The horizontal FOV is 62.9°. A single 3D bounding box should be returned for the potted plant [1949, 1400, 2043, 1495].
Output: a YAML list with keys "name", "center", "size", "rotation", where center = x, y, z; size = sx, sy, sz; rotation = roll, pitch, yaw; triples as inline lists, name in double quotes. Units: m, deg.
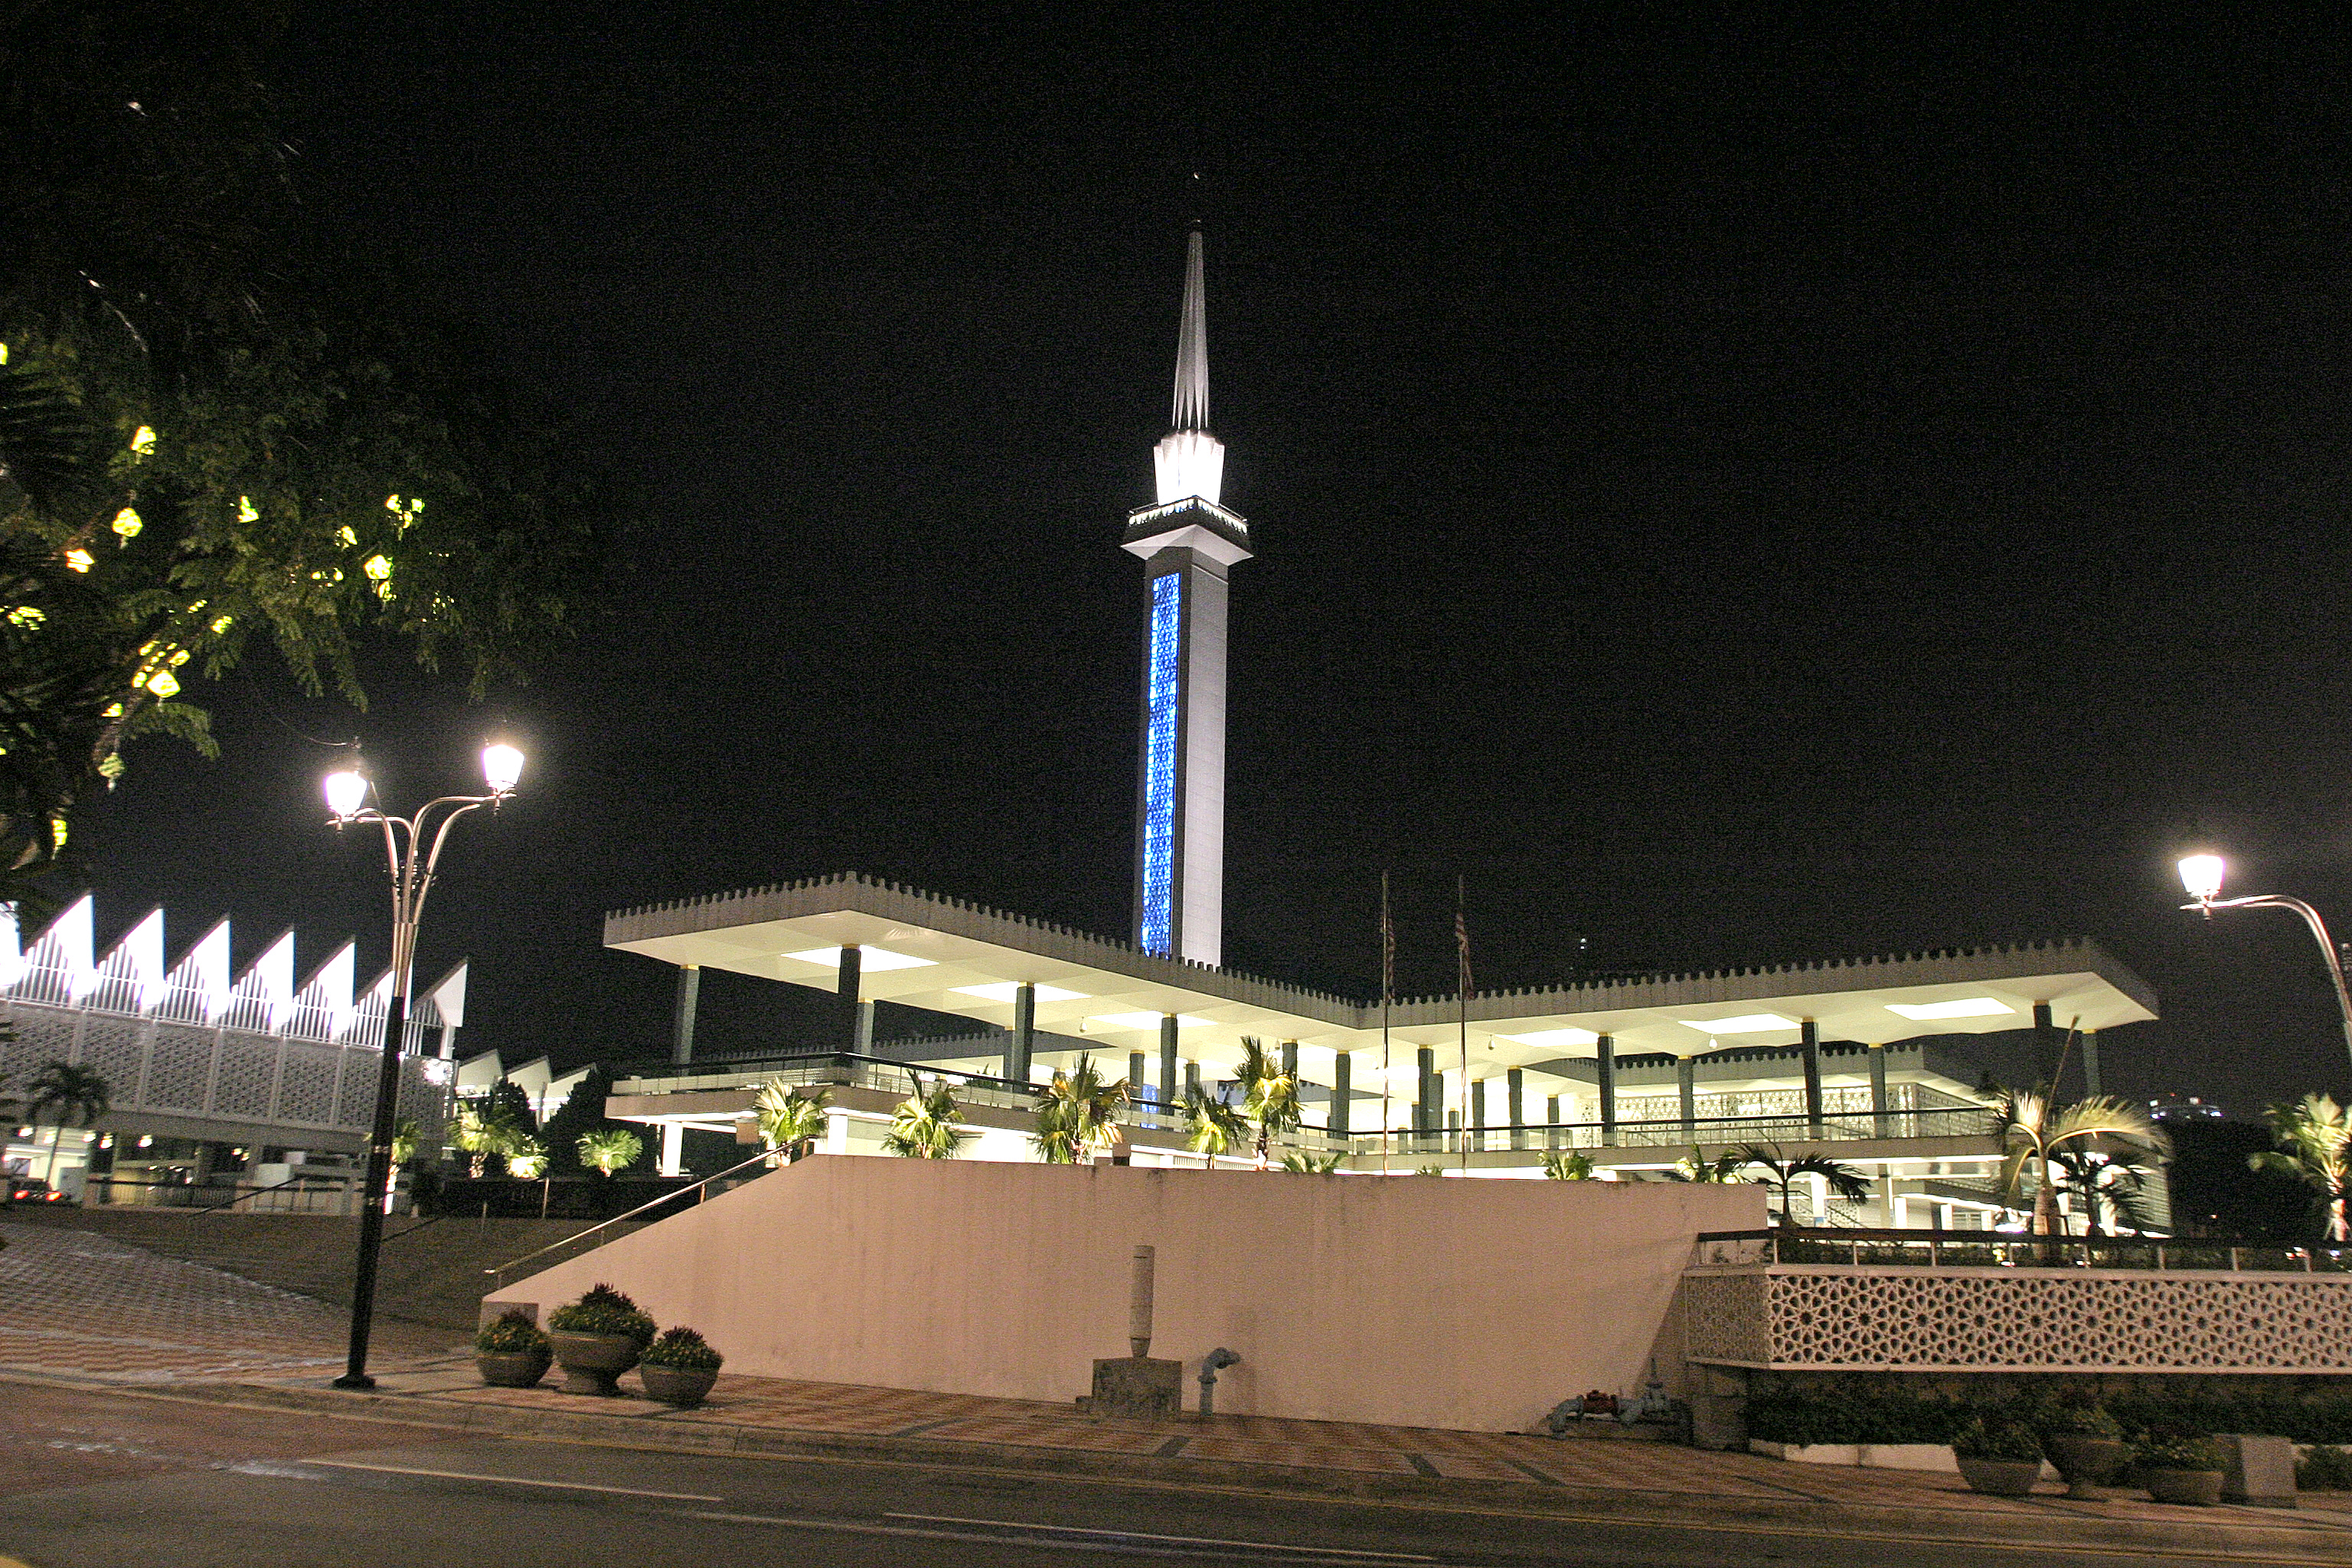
- name: "potted plant"
  center: [11.888, 9.693, 27.841]
  size: [1.114, 1.012, 0.656]
  rotation: [-3, -19, 16]

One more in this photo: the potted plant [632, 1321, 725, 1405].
- name: "potted plant"
  center: [-7.625, 8.905, 29.559]
  size: [1.143, 1.116, 0.719]
  rotation: [7, -19, -14]

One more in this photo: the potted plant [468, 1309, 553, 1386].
- name: "potted plant"
  center: [-10.223, 8.746, 30.017]
  size: [1.151, 1.092, 1.117]
  rotation: [1, -9, -5]

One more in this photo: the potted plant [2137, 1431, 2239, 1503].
- name: "potted plant"
  center: [14.724, 9.888, 27.973]
  size: [1.121, 0.753, 1.073]
  rotation: [5, -12, -18]
